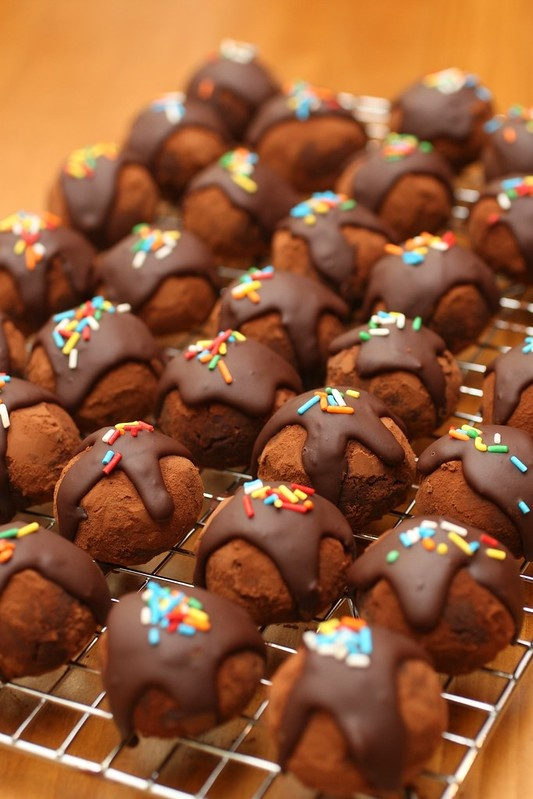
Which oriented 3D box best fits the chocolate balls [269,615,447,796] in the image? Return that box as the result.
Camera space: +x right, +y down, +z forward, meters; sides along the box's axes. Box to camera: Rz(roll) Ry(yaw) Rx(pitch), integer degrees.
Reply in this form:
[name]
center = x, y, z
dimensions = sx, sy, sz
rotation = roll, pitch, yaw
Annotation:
[chocolate balls]
center = 0.090, 0.402, 0.973
dimensions = 0.224, 0.195, 0.217
rotation = 2, 55, -3
